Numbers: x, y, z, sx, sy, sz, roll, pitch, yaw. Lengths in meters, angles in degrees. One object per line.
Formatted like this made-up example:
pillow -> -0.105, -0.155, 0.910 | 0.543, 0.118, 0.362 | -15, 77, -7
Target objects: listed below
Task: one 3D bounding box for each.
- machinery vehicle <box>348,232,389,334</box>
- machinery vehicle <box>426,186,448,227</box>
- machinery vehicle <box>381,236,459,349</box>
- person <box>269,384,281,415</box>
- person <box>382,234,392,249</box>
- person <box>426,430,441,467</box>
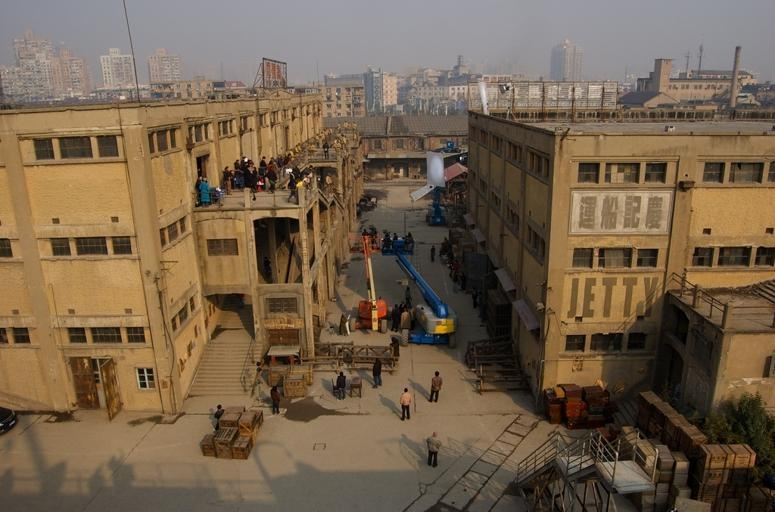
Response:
machinery vehicle -> -1.424, 3.571, 55.029 | 3.226, 6.590, 13.855 | -2, 11, -3
machinery vehicle -> 7.293, -6.778, 88.612 | 2.127, 3.548, 7.053 | 1, 19, 3
machinery vehicle -> 2.387, 2.690, 57.409 | 4.057, 5.410, 12.664 | -8, 27, -19
person -> -8.017, 10.374, 45.153 | 0.720, 1.966, 1.164 | -5, 13, -10
person -> 0.011, -1.595, 72.813 | 0.974, 1.691, 0.693 | 1, -3, 26
person -> 3.021, 12.590, 40.930 | 0.833, 2.203, 1.028 | -2, 13, 3
